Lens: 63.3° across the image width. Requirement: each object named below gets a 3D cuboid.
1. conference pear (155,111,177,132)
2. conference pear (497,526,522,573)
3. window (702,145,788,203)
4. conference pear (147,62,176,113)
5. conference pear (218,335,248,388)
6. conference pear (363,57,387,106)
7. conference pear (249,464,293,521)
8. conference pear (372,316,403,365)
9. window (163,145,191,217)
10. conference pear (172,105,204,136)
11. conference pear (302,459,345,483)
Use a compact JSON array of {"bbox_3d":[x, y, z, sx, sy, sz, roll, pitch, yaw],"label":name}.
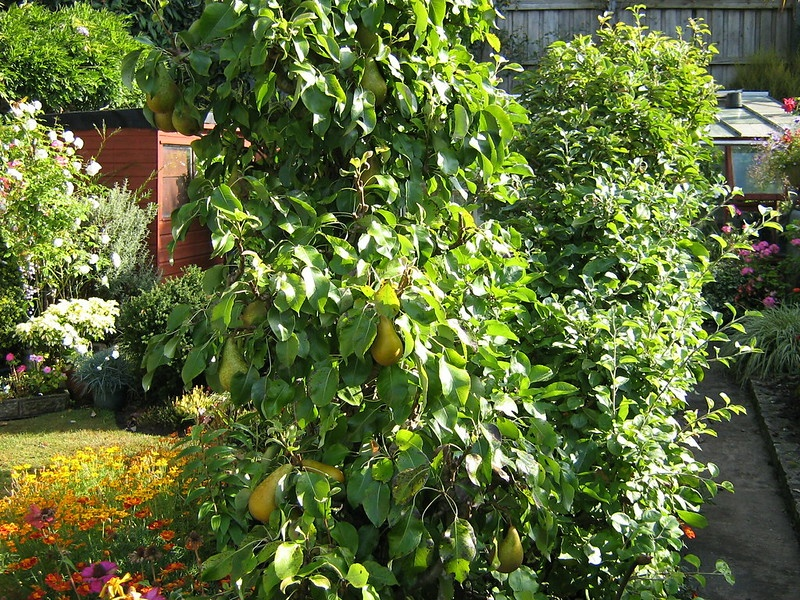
[{"bbox_3d":[-0.697,-0.532,1.936,0.040,0.042,0.049,-4,-39,14],"label":"conference pear"},{"bbox_3d":[0.321,0.719,1.874,0.079,0.123,0.076,4,14,-14],"label":"conference pear"},{"bbox_3d":[4.650,-1.696,8.587,0.658,0.941,0.638,-3,0,-38],"label":"window"},{"bbox_3d":[-0.662,-0.610,1.867,0.096,0.127,0.102,-4,8,-12],"label":"conference pear"},{"bbox_3d":[-0.460,0.177,1.821,0.082,0.141,0.045,-14,-15,33],"label":"conference pear"},{"bbox_3d":[-0.077,-0.633,1.890,0.059,0.124,0.061,-17,3,36],"label":"conference pear"},{"bbox_3d":[-0.346,0.507,1.701,0.130,0.144,0.099,0,4,1],"label":"conference pear"},{"bbox_3d":[-0.036,0.086,1.644,0.073,0.175,0.076,-5,-6,15],"label":"conference pear"},{"bbox_3d":[-2.686,-1.436,7.777,0.843,0.909,0.027,6,6,38],"label":"window"},{"bbox_3d":[-0.646,-0.531,1.976,0.084,0.078,0.172,-2,4,-17],"label":"conference pear"},{"bbox_3d":[-0.203,0.455,1.750,0.130,0.045,0.047,23,16,-23],"label":"conference pear"}]
